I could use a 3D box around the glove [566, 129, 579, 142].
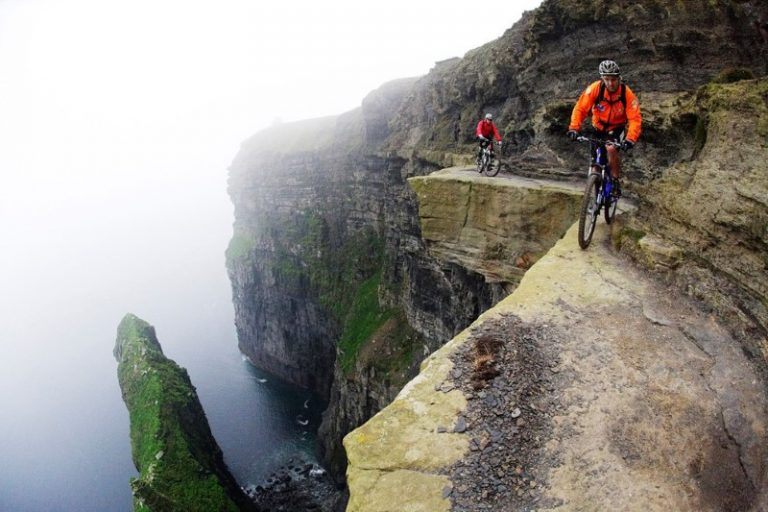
[{"bbox_3d":[7.988,-5.120,26.253,0.435,0.252,0.552,9,-11,-1],"label":"glove"}]

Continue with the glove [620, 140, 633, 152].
[{"bbox_3d":[9.992,-4.543,25.284,0.403,0.422,0.408,-35,-20,4],"label":"glove"}]
